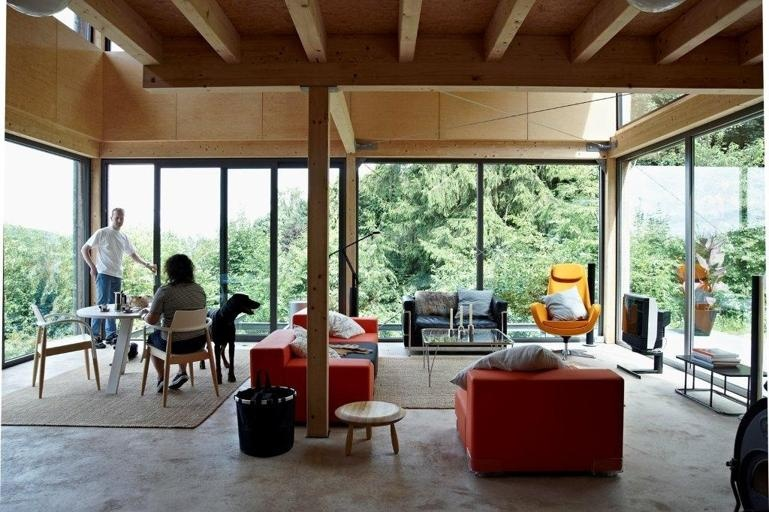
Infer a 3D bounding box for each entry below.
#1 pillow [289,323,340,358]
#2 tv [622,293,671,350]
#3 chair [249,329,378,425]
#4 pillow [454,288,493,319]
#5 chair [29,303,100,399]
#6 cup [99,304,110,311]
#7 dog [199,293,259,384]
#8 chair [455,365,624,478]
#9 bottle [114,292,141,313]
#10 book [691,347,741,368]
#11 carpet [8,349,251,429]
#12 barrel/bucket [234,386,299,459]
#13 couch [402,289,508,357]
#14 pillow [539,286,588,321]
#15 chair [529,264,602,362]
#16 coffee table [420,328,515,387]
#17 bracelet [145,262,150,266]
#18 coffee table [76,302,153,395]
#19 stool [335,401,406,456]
[{"bbox_3d":[-0.755,0.933,6.163,0.418,0.114,0.400,14,-1,-15],"label":"pillow"},{"bbox_3d":[3.625,0.954,7.907,0.510,0.691,0.883,1,-2,4],"label":"tv"},{"bbox_3d":[-0.715,1.219,5.848,0.903,0.513,1.231,0,-2,-2],"label":"chair"},{"bbox_3d":[1.349,0.746,8.696,0.474,0.158,0.417,2,43,13],"label":"pillow"},{"bbox_3d":[-3.738,1.090,6.738,0.771,0.880,0.695,-1,-1,-24],"label":"chair"},{"bbox_3d":[-3.379,0.633,6.937,0.149,0.069,0.128,1,-4,-5],"label":"cup"},{"bbox_3d":[-2.046,1.039,7.341,0.479,0.919,1.770,8,-12,-30],"label":"dog"},{"bbox_3d":[1.369,1.446,4.919,1.093,0.611,1.044,-1,-1,4],"label":"chair"},{"bbox_3d":[-3.094,0.565,6.913,0.289,0.248,0.276,0,-1,-3],"label":"bottle"},{"bbox_3d":[3.647,1.124,6.320,0.332,0.107,0.343,0,-2,18],"label":"book"},{"bbox_3d":[-2.944,1.579,6.505,2.483,0.099,1.549,1,10,1],"label":"carpet"},{"bbox_3d":[-1.110,1.542,5.492,0.587,0.523,0.594,-1,-2,0],"label":"barrel/bucket"},{"bbox_3d":[1.077,0.982,8.771,1.555,0.844,0.843,-1,5,6],"label":"couch"},{"bbox_3d":[2.650,0.707,8.398,0.621,0.410,0.491,3,11,13],"label":"pillow"},{"bbox_3d":[2.735,0.792,8.534,0.965,1.210,1.196,0,6,24],"label":"chair"},{"bbox_3d":[1.112,1.260,7.656,1.411,0.505,1.353,-14,-8,18],"label":"coffee table"},{"bbox_3d":[-3.610,0.126,8.754,0.041,0.049,0.047,3,-17,-2],"label":"bracelet"},{"bbox_3d":[-2.997,1.119,6.912,1.094,0.940,0.949,4,-8,-12],"label":"coffee table"},{"bbox_3d":[-0.115,1.589,5.380,0.620,0.428,0.617,2,11,9],"label":"stool"}]
